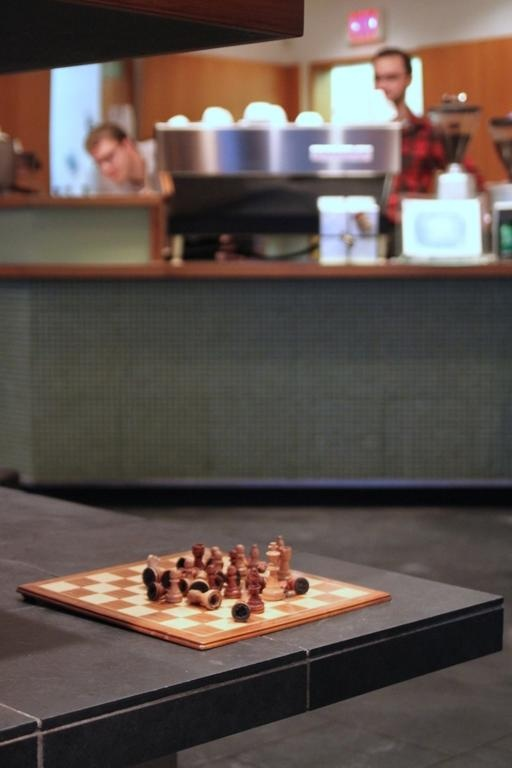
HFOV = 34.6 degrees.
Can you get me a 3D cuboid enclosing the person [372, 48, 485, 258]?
[{"bbox_3d":[0.798,-1.206,4.113,0.687,1.286,0.355,-2,9,8],"label":"person"}]
